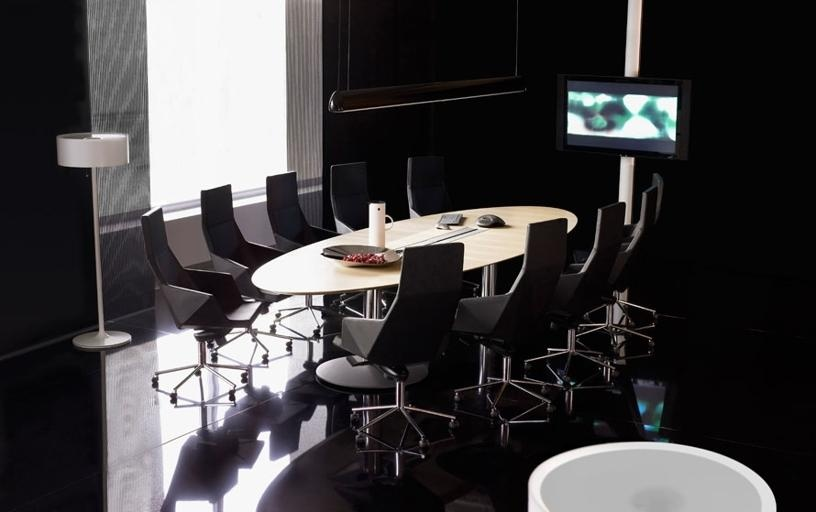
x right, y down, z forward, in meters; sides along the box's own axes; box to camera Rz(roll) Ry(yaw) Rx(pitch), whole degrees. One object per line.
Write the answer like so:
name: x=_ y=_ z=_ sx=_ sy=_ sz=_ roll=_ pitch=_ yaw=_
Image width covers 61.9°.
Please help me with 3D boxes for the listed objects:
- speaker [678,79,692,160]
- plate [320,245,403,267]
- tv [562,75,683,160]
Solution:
speaker: x=2.997 y=-1.594 z=7.394 sx=0.121 sy=0.603 sz=0.055 roll=2 pitch=4 yaw=3
plate: x=-0.398 y=-0.009 z=5.695 sx=0.465 sy=0.151 sz=0.579 roll=1 pitch=10 yaw=-38
tv: x=2.419 y=-1.606 z=7.785 sx=1.550 sy=0.867 sz=0.147 roll=12 pitch=9 yaw=36
